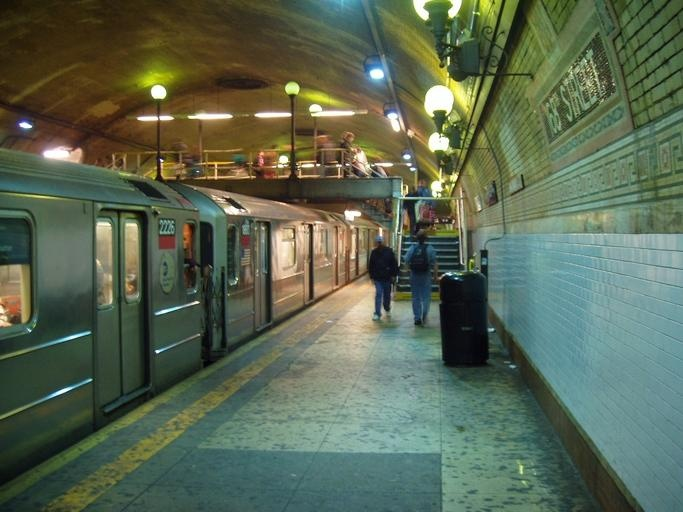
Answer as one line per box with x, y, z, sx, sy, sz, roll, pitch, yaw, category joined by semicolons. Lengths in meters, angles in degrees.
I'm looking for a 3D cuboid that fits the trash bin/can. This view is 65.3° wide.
1.804;0.923;7.879;0.675;1.334;0.369;0;4;10;trash bin/can

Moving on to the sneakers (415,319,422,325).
1.577;1.343;10.934;0.131;0.098;0.083;5;5;34;sneakers
